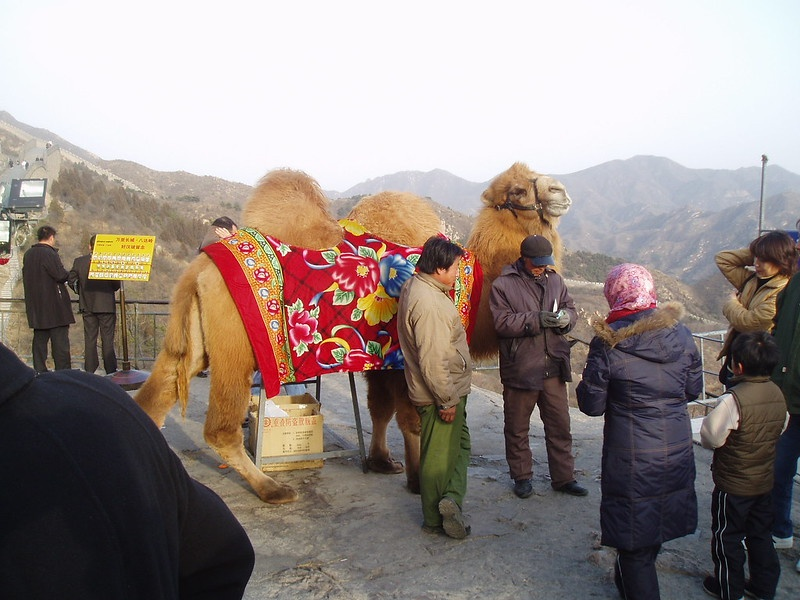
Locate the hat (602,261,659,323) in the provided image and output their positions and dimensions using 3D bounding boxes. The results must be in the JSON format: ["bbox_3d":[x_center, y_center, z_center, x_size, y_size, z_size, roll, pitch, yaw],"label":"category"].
[{"bbox_3d":[1.327,-0.021,3.282,0.303,0.382,0.344,2,-21,-13],"label":"hat"}]

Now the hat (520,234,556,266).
[{"bbox_3d":[1.049,-0.379,4.298,0.177,0.154,0.255,-5,23,-15],"label":"hat"}]

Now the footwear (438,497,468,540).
[{"bbox_3d":[0.337,1.397,3.667,0.143,0.343,0.161,-3,13,25],"label":"footwear"}]

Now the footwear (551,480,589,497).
[{"bbox_3d":[1.354,1.487,4.515,0.259,0.132,0.101,1,4,30],"label":"footwear"}]

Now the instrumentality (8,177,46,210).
[{"bbox_3d":[-21.726,-6.130,33.031,2.525,1.920,0.924,3,3,18],"label":"instrumentality"}]

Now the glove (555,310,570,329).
[{"bbox_3d":[1.217,0.146,4.211,0.093,0.133,0.055,0,-39,-1],"label":"glove"}]

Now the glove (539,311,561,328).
[{"bbox_3d":[1.115,0.136,4.199,0.121,0.125,0.096,-9,-7,39],"label":"glove"}]
